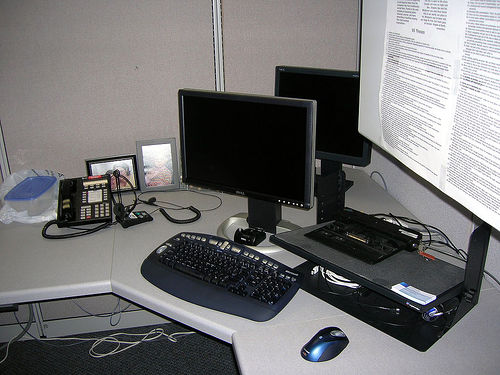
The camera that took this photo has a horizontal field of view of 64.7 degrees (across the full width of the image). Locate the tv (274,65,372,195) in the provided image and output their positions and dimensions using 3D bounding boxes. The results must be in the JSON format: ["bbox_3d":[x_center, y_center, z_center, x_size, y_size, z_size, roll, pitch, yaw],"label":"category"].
[{"bbox_3d":[0.289,-0.249,1.614,0.486,0.533,0.169,13,28,32],"label":"tv"}]

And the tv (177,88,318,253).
[{"bbox_3d":[-0.007,-0.064,1.553,0.525,0.530,0.229,17,28,31],"label":"tv"}]
